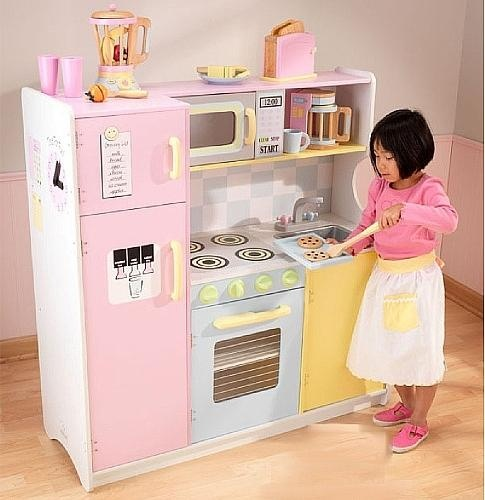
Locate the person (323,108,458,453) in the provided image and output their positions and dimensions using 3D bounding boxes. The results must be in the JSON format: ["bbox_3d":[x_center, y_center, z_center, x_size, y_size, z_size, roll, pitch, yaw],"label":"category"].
[{"bbox_3d":[0.581,0.141,1.824,0.422,1.318,0.449,5,15,24],"label":"person"}]

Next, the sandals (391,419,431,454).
[{"bbox_3d":[0.685,0.748,1.923,0.193,0.070,0.085,-15,8,-28],"label":"sandals"}]

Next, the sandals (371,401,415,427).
[{"bbox_3d":[0.660,0.701,2.063,0.176,0.067,0.069,-5,16,-23],"label":"sandals"}]
